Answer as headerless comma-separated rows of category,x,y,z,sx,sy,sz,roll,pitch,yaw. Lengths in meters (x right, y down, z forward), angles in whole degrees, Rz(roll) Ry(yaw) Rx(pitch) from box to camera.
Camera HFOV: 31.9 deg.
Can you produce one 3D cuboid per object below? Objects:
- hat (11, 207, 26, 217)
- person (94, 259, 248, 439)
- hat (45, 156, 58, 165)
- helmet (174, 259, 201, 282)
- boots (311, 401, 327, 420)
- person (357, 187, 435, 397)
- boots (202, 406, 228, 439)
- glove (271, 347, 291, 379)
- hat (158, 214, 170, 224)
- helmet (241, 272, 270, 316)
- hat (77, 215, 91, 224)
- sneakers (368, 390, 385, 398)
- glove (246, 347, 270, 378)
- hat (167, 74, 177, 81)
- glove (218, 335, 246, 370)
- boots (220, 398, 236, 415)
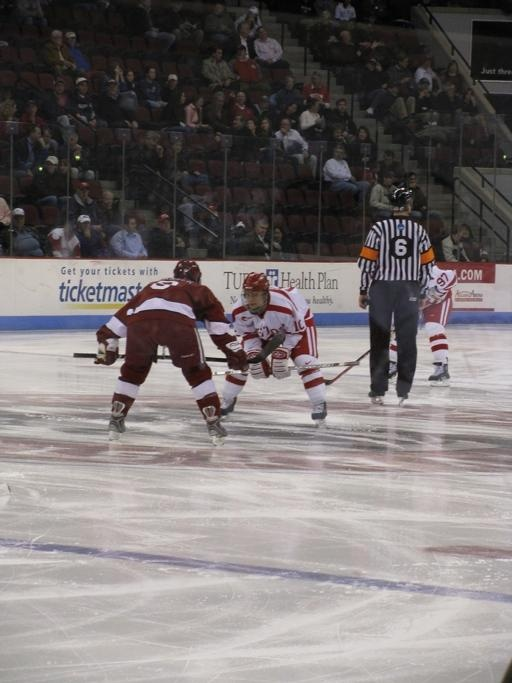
hat,-3.127,-1.685,11.707,0.110,0.089,0.126,-5,-1,-7
person,-0.514,0.066,5.213,0.913,1.020,0.520,0,15,3
hat,-2.727,-2.409,11.928,0.052,0.123,0.189,9,16,34
helmet,-0.403,-0.418,5.332,0.128,0.136,0.166,9,9,39
boots,0.405,0.455,5.863,0.091,0.112,0.133,5,9,26
person,1.038,-0.212,6.781,0.545,1.404,0.377,1,15,8
boots,-0.230,0.482,5.119,0.100,0.148,0.242,-21,-17,8
glove,0.153,0.141,5.836,0.130,0.184,0.084,2,10,20
hat,-1.337,-1.748,12.870,0.149,0.131,0.113,10,-6,-37
helmet,-0.019,-0.289,5.484,0.202,0.250,0.278,-3,19,8
hat,-2.363,-1.656,12.175,0.172,0.100,0.257,2,-6,-27
sneakers,0.916,0.408,6.903,0.050,0.084,0.127,1,-11,-13
glove,0.017,0.142,5.770,0.091,0.101,0.237,-9,-37,9
hat,-1.413,-4.424,14.997,0.191,0.079,0.242,0,7,-5
glove,-0.131,0.054,5.178,0.134,0.217,0.060,-25,20,41
boots,-0.185,0.451,6.000,0.056,0.148,0.065,1,-32,39
